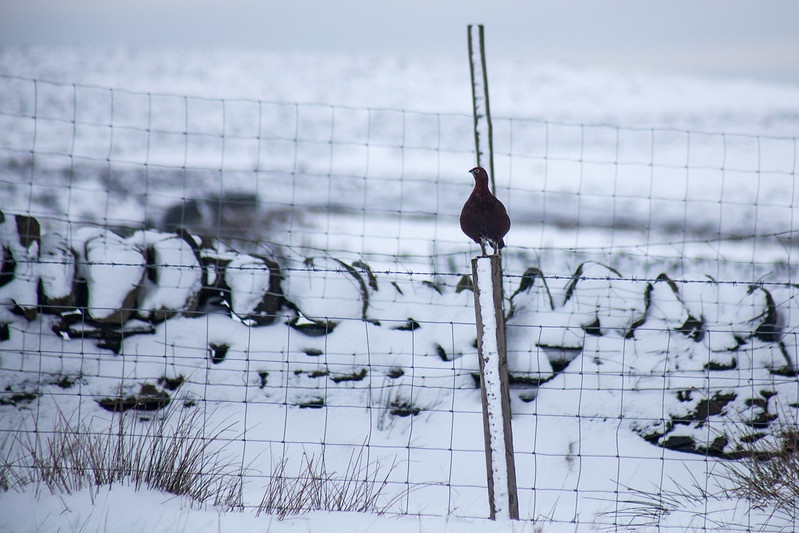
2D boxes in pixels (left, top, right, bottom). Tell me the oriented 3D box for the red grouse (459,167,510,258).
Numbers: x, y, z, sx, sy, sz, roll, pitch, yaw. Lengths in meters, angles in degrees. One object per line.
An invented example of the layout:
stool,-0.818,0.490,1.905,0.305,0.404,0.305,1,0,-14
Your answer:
red grouse,0.919,-0.620,25.727,0.523,0.943,0.493,2,2,-5
